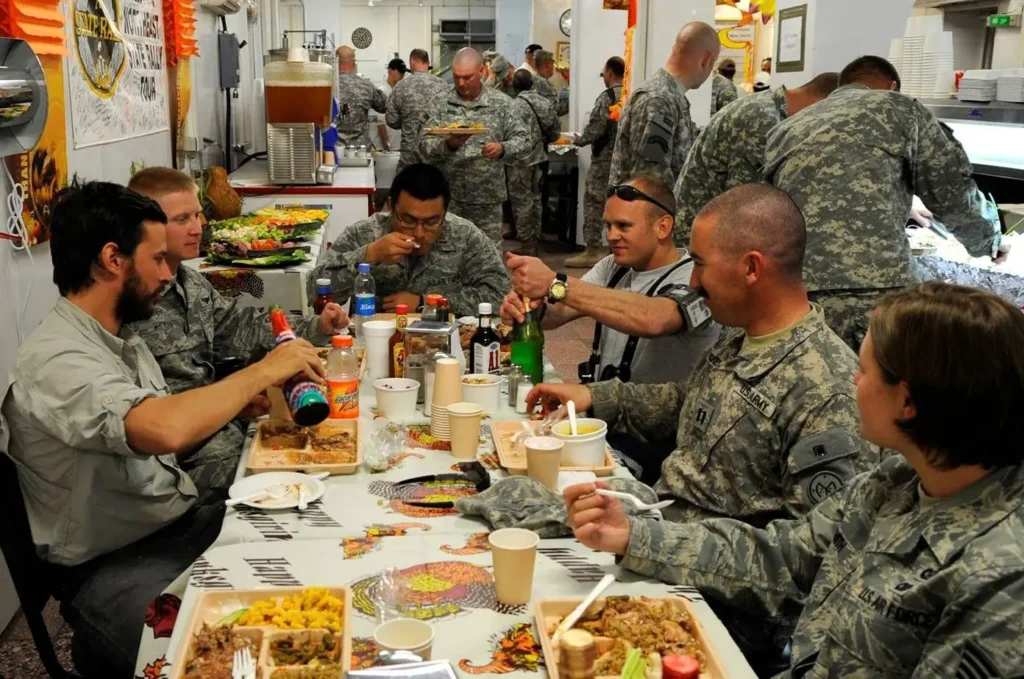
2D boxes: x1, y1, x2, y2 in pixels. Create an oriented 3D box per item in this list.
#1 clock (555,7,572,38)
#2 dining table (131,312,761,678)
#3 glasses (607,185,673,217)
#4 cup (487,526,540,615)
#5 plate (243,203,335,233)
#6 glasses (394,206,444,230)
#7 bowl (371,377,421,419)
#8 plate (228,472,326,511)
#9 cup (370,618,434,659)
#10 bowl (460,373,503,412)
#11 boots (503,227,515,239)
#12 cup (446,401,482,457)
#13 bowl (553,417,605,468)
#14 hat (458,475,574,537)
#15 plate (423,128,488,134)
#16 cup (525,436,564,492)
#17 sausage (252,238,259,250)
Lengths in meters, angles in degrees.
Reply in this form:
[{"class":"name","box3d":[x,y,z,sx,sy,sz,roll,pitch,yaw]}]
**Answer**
[{"class":"clock","box3d":[0.983,-6.080,13.045,0.227,0.431,0.301,6,12,13]},{"class":"dining table","box3d":[-0.184,0.438,1.940,1.047,0.224,0.970,-1,13,-4]},{"class":"glasses","box3d":[0.568,-0.624,2.994,0.197,0.048,0.163,15,5,-19]},{"class":"cup","box3d":[0.003,0.518,1.602,0.105,0.183,0.145,4,12,5]},{"class":"plate","box3d":[-1.651,-0.925,5.058,0.488,0.111,0.495,1,10,7]},{"class":"glasses","box3d":[-0.492,-0.624,3.560,0.251,0.106,0.113,2,12,-4]},{"class":"bowl","box3d":[-0.417,0.209,2.478,0.159,0.089,0.148,0,4,0]},{"class":"plate","box3d":[-0.674,0.435,1.950,0.158,0.021,0.129,-8,25,-31]},{"class":"cup","box3d":[-0.208,0.588,1.291,0.095,0.066,0.094,1,7,0]},{"class":"bowl","box3d":[-0.112,0.198,2.490,0.125,0.087,0.139,0,5,0]},{"class":"boots","box3d":[-0.044,-1.661,10.523,0.142,0.173,0.100,0,-23,-3]},{"class":"cup","box3d":[-0.153,0.288,2.191,0.178,0.161,0.157,0,1,2]},{"class":"bowl","box3d":[0.211,0.326,2.163,0.157,0.107,0.156,-1,7,0]},{"class":"hat","box3d":[0.026,0.454,1.864,0.188,0.041,0.183,-10,21,-36]},{"class":"plate","box3d":[-0.539,-1.898,6.218,0.615,0.075,0.201,7,12,23]},{"class":"cup","box3d":[0.061,0.371,2.038,0.153,0.143,0.141,0,4,0]},{"class":"sausage","box3d":[-1.544,-0.578,4.114,0.016,0.058,0.066,4,-11,-28]}]
